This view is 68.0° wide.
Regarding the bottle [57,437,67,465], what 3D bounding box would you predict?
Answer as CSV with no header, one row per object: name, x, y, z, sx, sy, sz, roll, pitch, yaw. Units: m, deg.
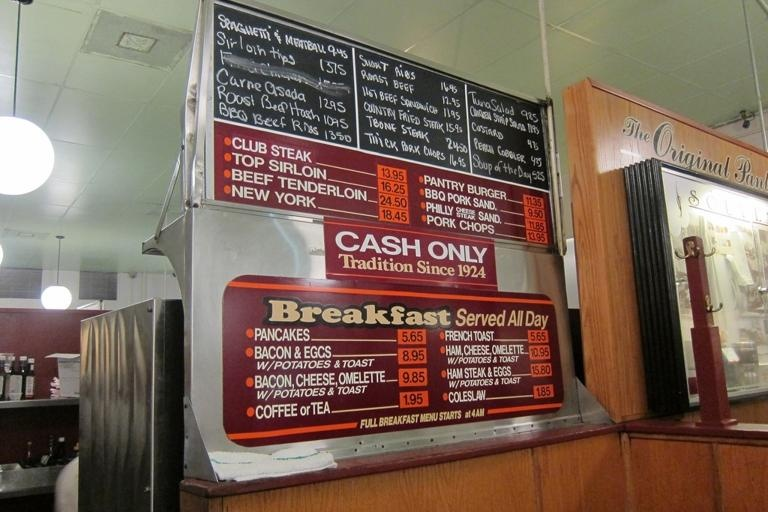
bottle,-2.764,1.657,4.890,0.071,0.196,0.209,0,2,-32

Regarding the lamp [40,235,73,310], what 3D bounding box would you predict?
lamp,-6.126,0.260,10.647,0.416,1.318,3.681,0,2,-30

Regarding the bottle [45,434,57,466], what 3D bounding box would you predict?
bottle,-2.863,1.654,4.895,0.081,0.191,0.284,0,2,-29
